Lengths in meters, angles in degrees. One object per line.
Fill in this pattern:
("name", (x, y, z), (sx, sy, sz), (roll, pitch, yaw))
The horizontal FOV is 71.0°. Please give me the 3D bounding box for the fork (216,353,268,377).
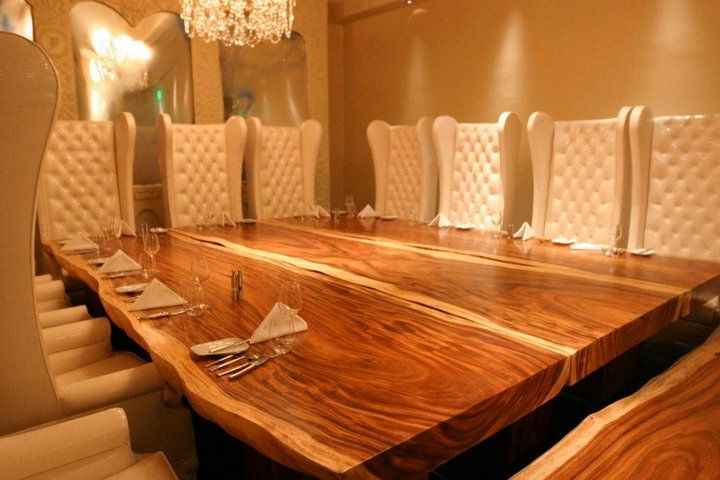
("fork", (-0.433, 0.479, 2.019), (0.299, 0.029, 0.059), (-11, 17, -42))
